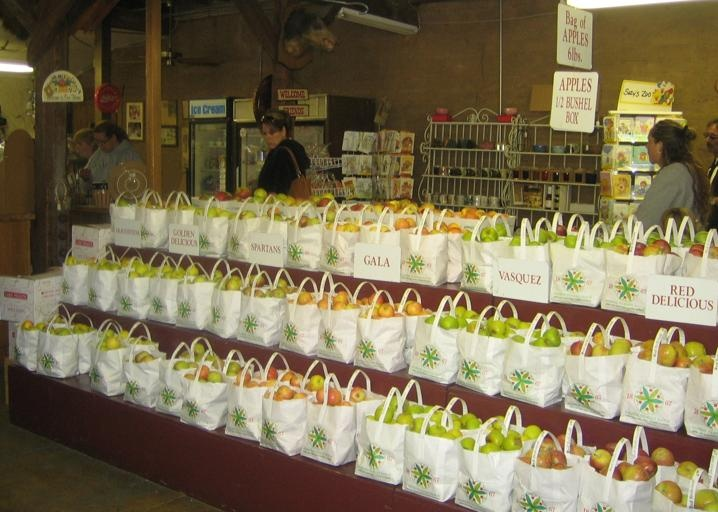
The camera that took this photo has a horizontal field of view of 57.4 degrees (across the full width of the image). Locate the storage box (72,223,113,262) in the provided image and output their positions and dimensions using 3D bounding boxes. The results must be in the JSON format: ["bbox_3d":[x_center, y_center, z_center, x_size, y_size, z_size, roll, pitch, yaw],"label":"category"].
[{"bbox_3d":[-2.316,-0.139,5.712,0.452,0.356,0.244,3,3,45],"label":"storage box"}]

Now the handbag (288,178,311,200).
[{"bbox_3d":[-0.532,-0.600,5.877,0.176,0.227,0.109,8,10,23],"label":"handbag"}]

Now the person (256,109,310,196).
[{"bbox_3d":[-0.703,-0.982,6.166,0.473,0.791,0.819,0,8,-8],"label":"person"}]

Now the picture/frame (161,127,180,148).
[{"bbox_3d":[-3.386,-2.154,11.829,0.578,0.462,0.063,11,13,41],"label":"picture/frame"}]

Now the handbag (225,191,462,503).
[{"bbox_3d":[-0.098,0.614,4.032,1.501,1.585,0.806,8,10,40],"label":"handbag"}]

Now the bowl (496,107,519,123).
[{"bbox_3d":[1.950,-1.843,8.619,0.224,0.194,0.193,1,5,21],"label":"bowl"}]

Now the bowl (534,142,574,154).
[{"bbox_3d":[2.459,-1.361,8.295,0.514,0.118,0.251,5,9,21],"label":"bowl"}]
